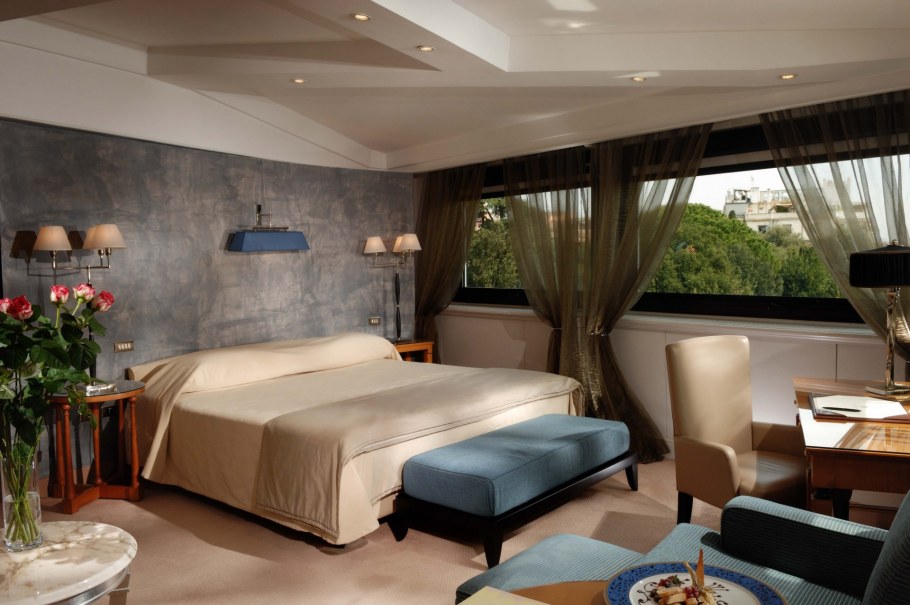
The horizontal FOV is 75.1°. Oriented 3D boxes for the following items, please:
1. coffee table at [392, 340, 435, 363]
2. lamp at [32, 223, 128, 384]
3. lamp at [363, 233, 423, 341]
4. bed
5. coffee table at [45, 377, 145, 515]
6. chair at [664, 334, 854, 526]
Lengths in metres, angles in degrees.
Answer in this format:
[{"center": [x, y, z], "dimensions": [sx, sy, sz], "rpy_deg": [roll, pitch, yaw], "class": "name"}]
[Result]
[{"center": [-0.440, 0.548, 6.820], "dimensions": [0.262, 0.384, 0.414], "rpy_deg": [2, 4, 30], "class": "coffee table"}, {"center": [-2.864, -0.094, 4.780], "dimensions": [0.336, 0.812, 0.458], "rpy_deg": [-16, -6, -19], "class": "lamp"}, {"center": [-0.716, -0.172, 6.914], "dimensions": [0.718, 1.236, 0.474], "rpy_deg": [-4, 12, -18], "class": "lamp"}, {"center": [-1.194, 0.887, 4.432], "dimensions": [1.942, 0.763, 2.081], "rpy_deg": [2, 4, 36], "class": "bed"}, {"center": [-2.816, 1.126, 4.667], "dimensions": [0.744, 0.813, 0.706], "rpy_deg": [-2, -4, -23], "class": "coffee table"}, {"center": [1.892, 0.846, 3.782], "dimensions": [0.847, 1.119, 0.818], "rpy_deg": [-3, 5, -5], "class": "chair"}]
